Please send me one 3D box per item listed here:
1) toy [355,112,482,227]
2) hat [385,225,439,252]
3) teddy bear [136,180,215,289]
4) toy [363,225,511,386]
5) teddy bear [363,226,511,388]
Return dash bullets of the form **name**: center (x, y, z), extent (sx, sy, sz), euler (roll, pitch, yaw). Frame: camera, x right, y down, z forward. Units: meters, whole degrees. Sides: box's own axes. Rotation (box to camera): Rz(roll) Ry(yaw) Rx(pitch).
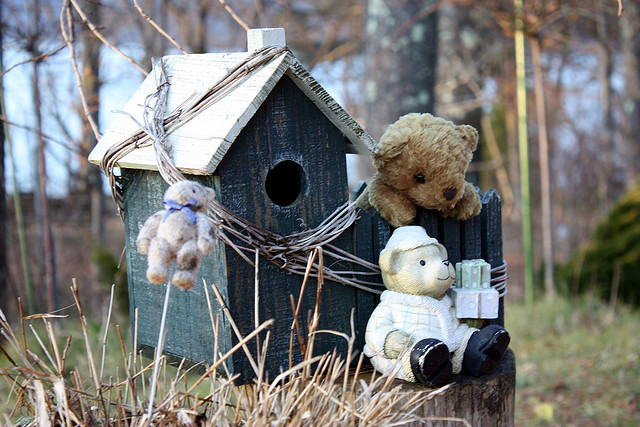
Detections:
- **toy**: center (0.777, -0.463, 12.038), extent (0.945, 0.976, 1.237), euler (-8, 20, -22)
- **hat**: center (0.713, 0.145, 11.542), extent (0.314, 0.230, 0.390), euler (-2, 5, -31)
- **teddy bear**: center (-1.074, 0.113, 11.039), extent (0.529, 0.835, 0.631), euler (-5, 13, -20)
- **toy**: center (0.935, 0.694, 11.583), extent (1.056, 1.332, 1.053), euler (-2, 2, -17)
- **teddy bear**: center (0.927, 0.785, 11.435), extent (1.055, 1.391, 0.932), euler (0, 2, 12)
